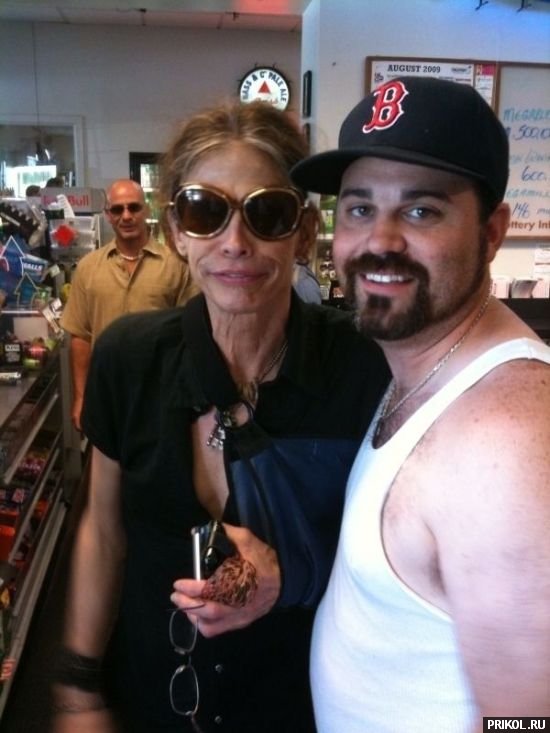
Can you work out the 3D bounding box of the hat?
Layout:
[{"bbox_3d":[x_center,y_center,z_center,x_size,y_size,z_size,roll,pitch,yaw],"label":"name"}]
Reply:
[{"bbox_3d":[0.190,-0.334,0.905,0.279,0.130,0.212,8,7,-21],"label":"hat"}]

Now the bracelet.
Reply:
[{"bbox_3d":[-0.355,0.582,1.143,0.104,0.150,0.108,-21,30,-1],"label":"bracelet"}]

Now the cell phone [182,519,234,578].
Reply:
[{"bbox_3d":[-0.110,0.298,0.997,0.044,0.046,0.119,-1,6,0],"label":"cell phone"}]

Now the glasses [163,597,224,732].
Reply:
[{"bbox_3d":[-0.170,0.530,1.112,0.063,0.232,0.148,-5,17,-12],"label":"glasses"}]

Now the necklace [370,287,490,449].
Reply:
[{"bbox_3d":[0.214,0.042,0.955,0.024,0.324,0.107,14,20,-24],"label":"necklace"}]
